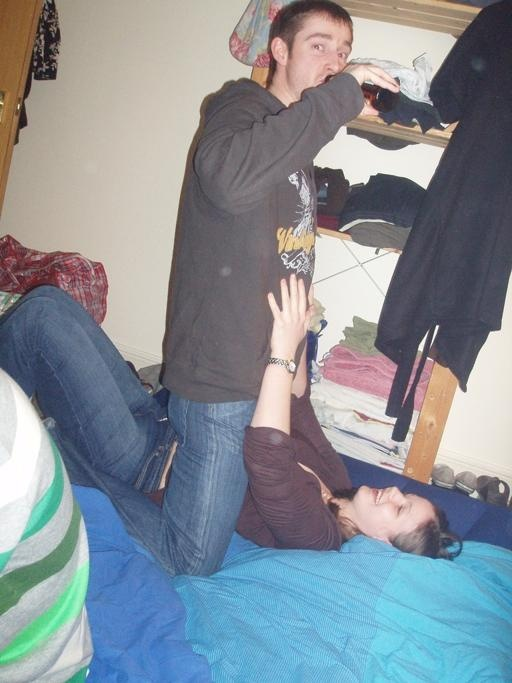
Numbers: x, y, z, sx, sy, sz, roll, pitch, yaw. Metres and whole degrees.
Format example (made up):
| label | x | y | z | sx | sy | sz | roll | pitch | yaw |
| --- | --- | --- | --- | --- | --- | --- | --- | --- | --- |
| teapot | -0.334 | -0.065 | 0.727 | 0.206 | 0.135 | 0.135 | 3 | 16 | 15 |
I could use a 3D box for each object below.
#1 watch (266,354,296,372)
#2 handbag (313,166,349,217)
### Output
| label | x | y | z | sx | sy | sz | roll | pitch | yaw |
| --- | --- | --- | --- | --- | --- | --- | --- | --- | --- |
| watch | 0.062 | 0.045 | 1.180 | 0.039 | 0.025 | 0.040 | 1 | -8 | 35 |
| handbag | 0.270 | -0.543 | 1.927 | 0.168 | 0.198 | 0.058 | 4 | -1 | -5 |
